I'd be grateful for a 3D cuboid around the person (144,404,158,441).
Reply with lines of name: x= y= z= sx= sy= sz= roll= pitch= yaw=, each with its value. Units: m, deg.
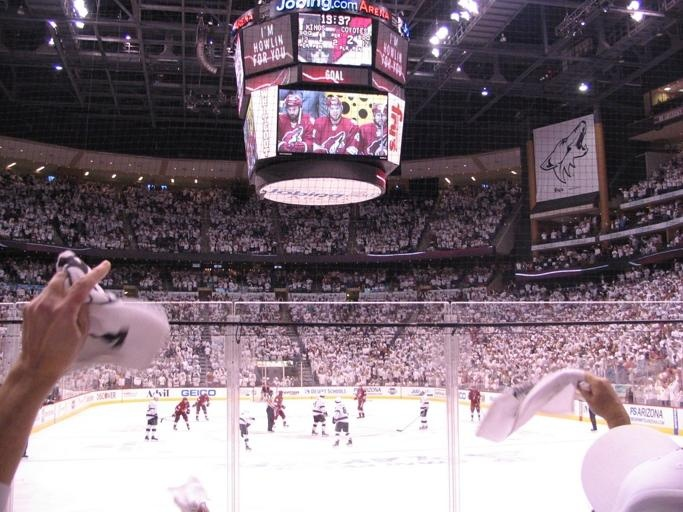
person: x=-4.767 y=4.047 z=18.454 sx=0.332 sy=0.929 sz=0.953 roll=5 pitch=25 yaw=-13
